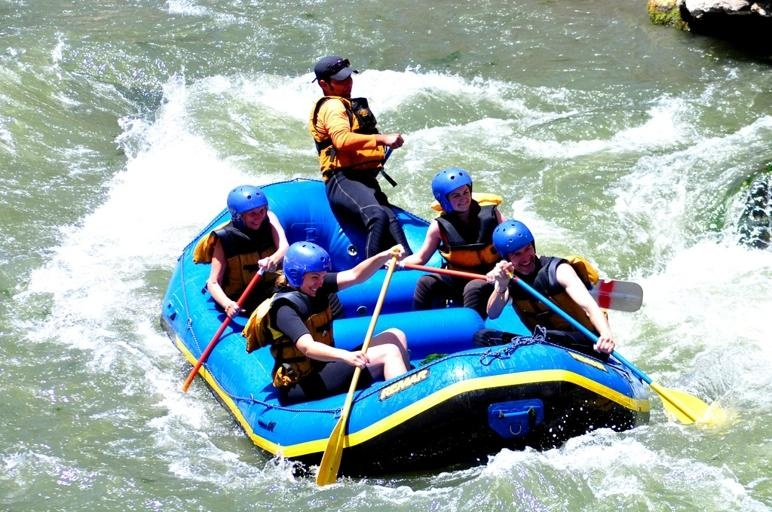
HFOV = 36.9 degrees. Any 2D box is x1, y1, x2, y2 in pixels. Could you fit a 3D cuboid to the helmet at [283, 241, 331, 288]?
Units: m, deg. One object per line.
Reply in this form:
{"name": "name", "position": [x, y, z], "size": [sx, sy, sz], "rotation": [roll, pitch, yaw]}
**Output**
{"name": "helmet", "position": [-0.841, 0.064, 12.304], "size": [0.546, 0.418, 0.458], "rotation": [20, 25, 36]}

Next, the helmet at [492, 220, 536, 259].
{"name": "helmet", "position": [1.288, -0.185, 12.534], "size": [0.360, 0.438, 0.387], "rotation": [-22, 79, -15]}

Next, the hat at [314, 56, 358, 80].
{"name": "hat", "position": [-0.644, -2.302, 14.160], "size": [0.494, 0.213, 0.319], "rotation": [-9, 4, 14]}

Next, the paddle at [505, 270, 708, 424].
{"name": "paddle", "position": [2.364, 1.053, 12.326], "size": [2.523, 0.177, 0.340], "rotation": [29, 38, -10]}

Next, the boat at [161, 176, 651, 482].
{"name": "boat", "position": [0.005, 0.999, 12.692], "size": [4.825, 1.827, 2.863], "rotation": [19, 35, 35]}
